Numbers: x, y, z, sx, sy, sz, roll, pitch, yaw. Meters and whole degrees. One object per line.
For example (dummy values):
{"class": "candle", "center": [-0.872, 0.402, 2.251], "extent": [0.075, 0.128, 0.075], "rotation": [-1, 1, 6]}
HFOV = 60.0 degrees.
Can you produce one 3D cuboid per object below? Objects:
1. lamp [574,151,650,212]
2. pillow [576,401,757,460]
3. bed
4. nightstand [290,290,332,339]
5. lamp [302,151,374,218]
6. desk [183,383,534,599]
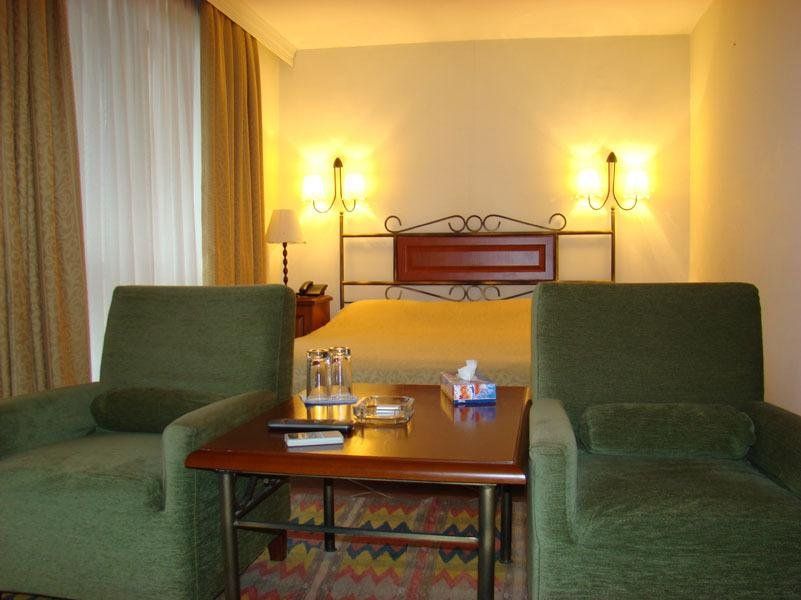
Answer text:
{"class": "lamp", "center": [1.618, -0.904, 5.224], "extent": [0.453, 0.400, 0.162], "rotation": [0, 5, 4]}
{"class": "pillow", "center": [0.968, 0.460, 2.476], "extent": [0.436, 0.113, 0.248], "rotation": [-1, 6, 5]}
{"class": "bed", "center": [0.344, -0.261, 4.699], "extent": [1.837, 1.185, 1.302], "rotation": [0, 4, 11]}
{"class": "nightstand", "center": [-0.619, 0.094, 5.127], "extent": [0.254, 0.389, 0.408], "rotation": [3, 6, 16]}
{"class": "lamp", "center": [-0.472, -0.921, 5.512], "extent": [0.530, 0.433, 0.207], "rotation": [1, 2, 18]}
{"class": "desk", "center": [-0.089, 0.472, 2.298], "extent": [0.808, 0.499, 0.801], "rotation": [-1, 3, 9]}
